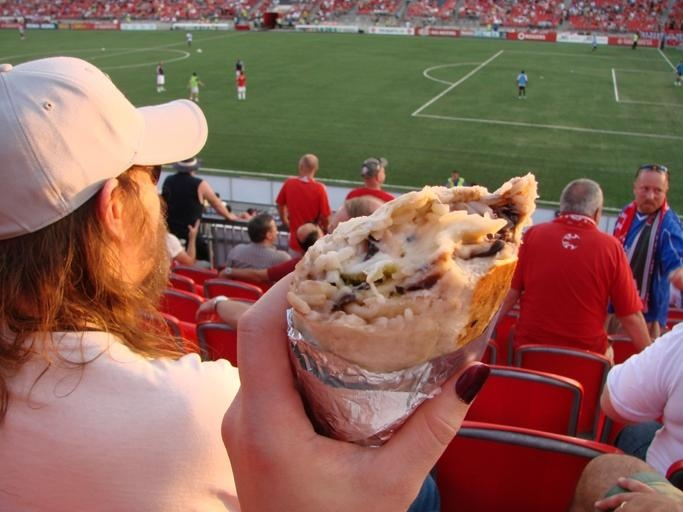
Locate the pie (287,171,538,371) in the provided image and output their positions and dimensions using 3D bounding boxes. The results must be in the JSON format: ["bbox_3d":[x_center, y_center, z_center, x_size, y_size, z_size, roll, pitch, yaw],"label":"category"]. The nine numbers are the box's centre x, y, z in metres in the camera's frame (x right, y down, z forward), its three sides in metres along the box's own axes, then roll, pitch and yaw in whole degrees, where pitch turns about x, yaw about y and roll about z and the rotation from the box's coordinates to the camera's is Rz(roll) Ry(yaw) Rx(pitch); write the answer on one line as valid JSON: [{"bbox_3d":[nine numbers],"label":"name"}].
[{"bbox_3d":[0.188,0.041,1.637,0.479,0.676,0.448,0,19,-3],"label":"pie"}]
